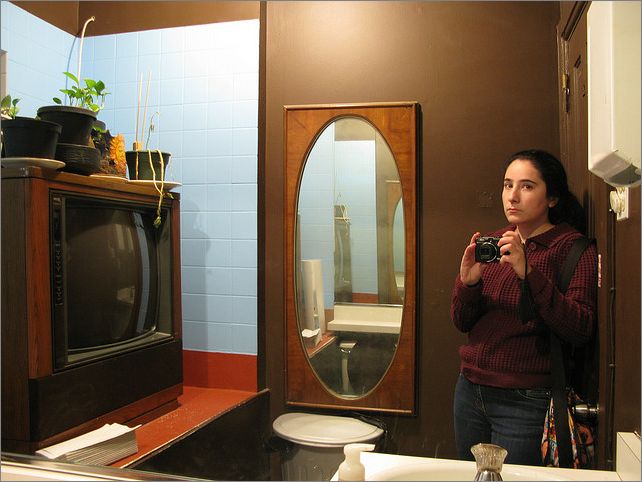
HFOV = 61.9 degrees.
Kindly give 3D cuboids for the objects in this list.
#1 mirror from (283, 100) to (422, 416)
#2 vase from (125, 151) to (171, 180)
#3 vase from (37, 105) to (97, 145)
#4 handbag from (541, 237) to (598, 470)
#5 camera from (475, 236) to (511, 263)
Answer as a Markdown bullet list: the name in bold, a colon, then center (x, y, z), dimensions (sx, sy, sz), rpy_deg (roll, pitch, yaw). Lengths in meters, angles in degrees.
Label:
- **mirror**: center (0.075, 0.041, 1.413), dimensions (0.375, 0.792, 0.140), rpy_deg (0, 1, 11)
- **vase**: center (-0.581, -0.228, 1.769), dimensions (0.104, 0.069, 0.109), rpy_deg (-2, -4, 31)
- **vase**: center (-0.773, -0.351, 1.595), dimensions (0.132, 0.100, 0.136), rpy_deg (0, 5, -10)
- **handbag**: center (0.539, 0.245, 1.163), dimensions (0.120, 0.507, 0.039), rpy_deg (-1, 1, -14)
- **camera**: center (0.378, 0.019, 1.186), dimensions (0.078, 0.085, 0.047), rpy_deg (-1, -6, 16)
